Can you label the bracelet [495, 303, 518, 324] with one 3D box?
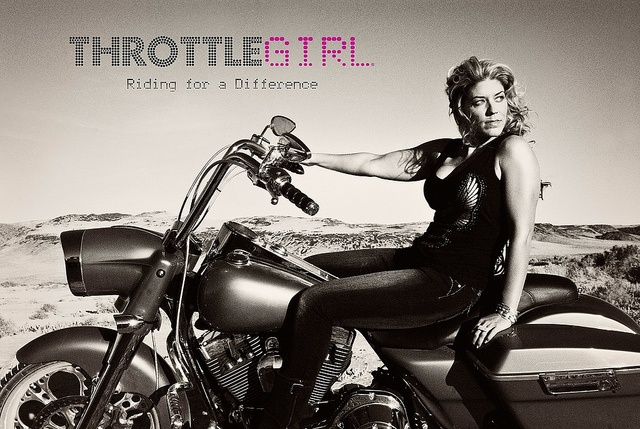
[{"bbox_3d":[0.958,0.506,2.669,0.108,0.057,0.086,37,-2,-40],"label":"bracelet"}]
